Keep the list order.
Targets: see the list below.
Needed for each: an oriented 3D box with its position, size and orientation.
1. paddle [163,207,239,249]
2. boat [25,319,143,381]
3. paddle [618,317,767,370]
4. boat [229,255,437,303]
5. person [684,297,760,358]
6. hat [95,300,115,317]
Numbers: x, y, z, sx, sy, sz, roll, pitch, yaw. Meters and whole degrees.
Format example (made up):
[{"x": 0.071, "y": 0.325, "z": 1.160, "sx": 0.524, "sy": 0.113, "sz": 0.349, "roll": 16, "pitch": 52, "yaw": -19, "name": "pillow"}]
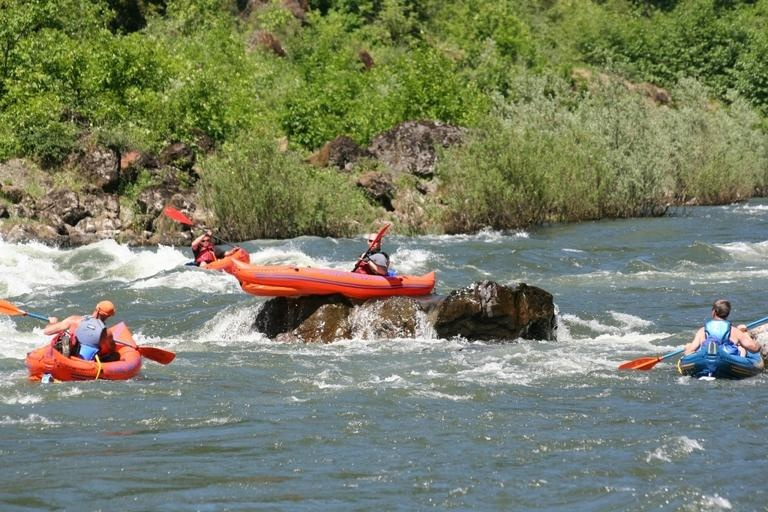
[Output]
[{"x": -7.447, "y": -1.103, "z": 65.061, "sx": 3.428, "sy": 0.137, "sz": 0.449, "roll": 26, "pitch": 32, "yaw": 0, "name": "paddle"}, {"x": -9.690, "y": 3.241, "z": 53.618, "sx": 2.139, "sy": 1.035, "sz": 2.693, "roll": 9, "pitch": 7, "yaw": 24, "name": "boat"}, {"x": 10.664, "y": 3.071, "z": 54.246, "sx": 4.773, "sy": 0.209, "sz": 0.610, "roll": -16, "pitch": 57, "yaw": -1, "name": "paddle"}, {"x": -1.837, "y": 0.978, "z": 56.599, "sx": 7.013, "sy": 1.414, "sz": 2.215, "roll": 2, "pitch": 1, "yaw": -8, "name": "boat"}, {"x": 11.473, "y": 2.526, "z": 53.338, "sx": 1.652, "sy": 1.019, "sz": 2.472, "roll": -1, "pitch": 25, "yaw": 9, "name": "person"}, {"x": -9.441, "y": 1.790, "z": 53.803, "sx": 0.689, "sy": 0.510, "sz": 0.471, "roll": -18, "pitch": 53, "yaw": -26, "name": "hat"}]
